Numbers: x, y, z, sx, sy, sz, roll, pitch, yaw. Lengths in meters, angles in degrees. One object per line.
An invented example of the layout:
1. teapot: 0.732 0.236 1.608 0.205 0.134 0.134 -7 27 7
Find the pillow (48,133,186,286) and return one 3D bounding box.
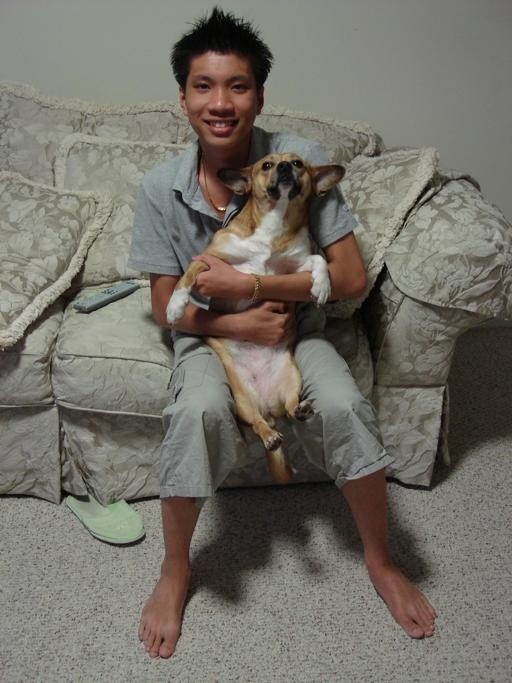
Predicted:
1. pillow: -0.557 -0.504 2.166 0.598 0.513 0.151 1 -13 3

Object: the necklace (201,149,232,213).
1. necklace: -0.114 -0.425 1.585 0.040 0.211 0.042 -10 -8 -27

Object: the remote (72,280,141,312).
1. remote: -0.491 -0.154 1.949 0.088 0.065 0.292 18 30 29

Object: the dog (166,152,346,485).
1. dog: 0.025 0.016 1.516 0.405 0.909 0.503 11 7 -4

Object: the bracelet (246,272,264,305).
1. bracelet: -0.001 -0.123 1.450 0.025 0.052 0.044 7 12 18
